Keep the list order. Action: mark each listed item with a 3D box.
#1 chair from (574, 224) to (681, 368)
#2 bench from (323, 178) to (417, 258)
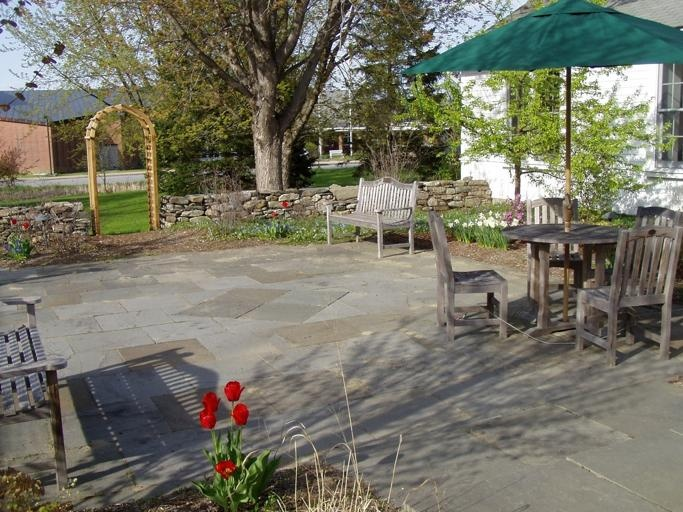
[{"bbox_3d":[2.598,0.317,4.917,0.728,1.215,0.493,-5,14,-12],"label":"chair"},{"bbox_3d":[0.580,-0.713,11.007,1.027,1.346,2.175,-5,9,-32],"label":"bench"}]
